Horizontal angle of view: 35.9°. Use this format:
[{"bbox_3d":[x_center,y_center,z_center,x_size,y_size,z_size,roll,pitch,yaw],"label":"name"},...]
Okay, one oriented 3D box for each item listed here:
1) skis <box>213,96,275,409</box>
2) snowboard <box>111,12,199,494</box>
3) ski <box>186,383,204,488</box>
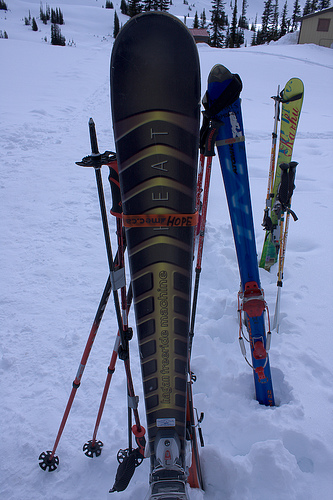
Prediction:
[{"bbox_3d":[0.536,-0.048,3.574,0.298,2.619,0.297,-16,13,-36],"label":"skis"},{"bbox_3d":[-0.028,0.115,2.748,0.640,2.430,0.668,2,20,-2],"label":"snowboard"},{"bbox_3d":[0.166,1.052,3.064,0.087,0.074,0.455,-4,28,2],"label":"ski"}]
